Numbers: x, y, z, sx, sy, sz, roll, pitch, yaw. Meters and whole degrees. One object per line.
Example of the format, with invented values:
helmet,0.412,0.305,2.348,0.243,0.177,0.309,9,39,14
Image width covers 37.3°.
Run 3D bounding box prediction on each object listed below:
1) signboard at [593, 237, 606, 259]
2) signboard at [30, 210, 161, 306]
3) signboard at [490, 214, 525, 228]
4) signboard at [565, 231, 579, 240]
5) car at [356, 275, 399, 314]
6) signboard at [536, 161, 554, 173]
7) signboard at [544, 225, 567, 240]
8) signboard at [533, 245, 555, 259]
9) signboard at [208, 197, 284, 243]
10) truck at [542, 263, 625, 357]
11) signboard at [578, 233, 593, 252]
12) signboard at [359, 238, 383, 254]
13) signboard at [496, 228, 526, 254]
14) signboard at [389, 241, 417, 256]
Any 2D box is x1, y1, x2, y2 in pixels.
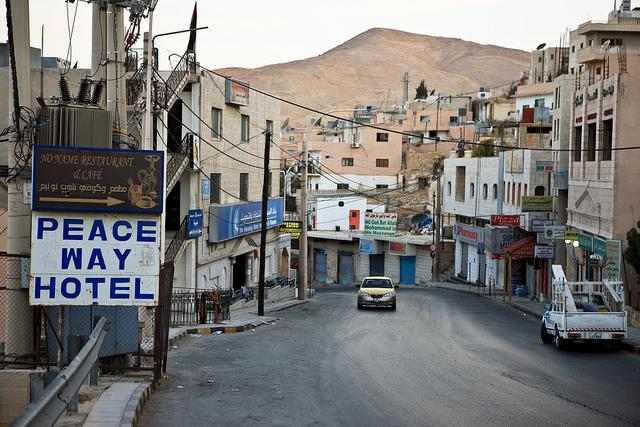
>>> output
signboard,13.315,1.553,45.364,0.177,0.611,0.648,0,6,-22
signboard,-6.864,1.333,28.877,3.782,2.854,0.416,0,6,-5
signboard,11.394,0.427,58.458,1.777,0.862,1.746,2,6,13
signboard,12.867,1.084,48.621,0.631,0.431,0.162,2,6,15
car,3.011,4.265,50.233,1.668,1.333,3.116,-1,-9,3
signboard,13.255,-2.847,56.203,1.166,0.652,0.793,3,-3,3
signboard,12.963,1.033,52.398,1.191,0.726,1.173,2,6,14
signboard,12.426,2.052,52.861,1.187,0.817,0.663,0,3,6
signboard,-4.036,0.171,54.879,0.583,1.827,8.828,2,6,22
truck,10.488,3.699,37.755,2.732,2.904,4.875,0,-1,0
signboard,13.255,1.392,47.527,0.158,0.617,0.649,4,5,-28
signboard,4.288,2.706,80.332,1.926,1.328,1.269,1,6,5
signboard,11.635,1.965,59.086,2.057,1.906,1.197,1,-23,4
signboard,6.729,2.781,77.979,2.287,1.068,0.970,4,7,29
